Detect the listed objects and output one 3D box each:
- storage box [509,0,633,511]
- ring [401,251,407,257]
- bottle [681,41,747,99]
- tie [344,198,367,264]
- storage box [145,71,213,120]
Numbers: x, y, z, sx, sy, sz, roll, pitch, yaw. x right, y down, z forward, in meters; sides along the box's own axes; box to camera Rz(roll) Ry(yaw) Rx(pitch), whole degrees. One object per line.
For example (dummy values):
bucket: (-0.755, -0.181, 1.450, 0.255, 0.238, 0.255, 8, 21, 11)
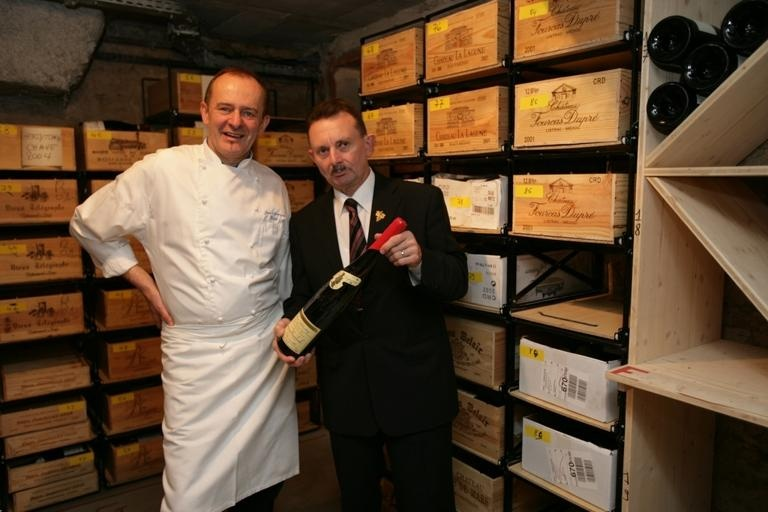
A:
storage box: (0.975, 0.069, 3.080, 0.634, 2.745, 0.893, 4, 10, 18)
ring: (0.077, -0.013, 2.333, 0.020, 0.019, 0.005, 2, -9, -5)
bottle: (1.322, -0.743, 2.304, 0.181, 0.204, 0.207, -5, 17, -45)
tie: (-0.131, -0.107, 2.582, 0.063, 0.327, 0.040, -18, -26, 20)
storage box: (-1.550, -1.170, 4.284, 0.485, 0.303, 0.500, 4, 5, 31)
